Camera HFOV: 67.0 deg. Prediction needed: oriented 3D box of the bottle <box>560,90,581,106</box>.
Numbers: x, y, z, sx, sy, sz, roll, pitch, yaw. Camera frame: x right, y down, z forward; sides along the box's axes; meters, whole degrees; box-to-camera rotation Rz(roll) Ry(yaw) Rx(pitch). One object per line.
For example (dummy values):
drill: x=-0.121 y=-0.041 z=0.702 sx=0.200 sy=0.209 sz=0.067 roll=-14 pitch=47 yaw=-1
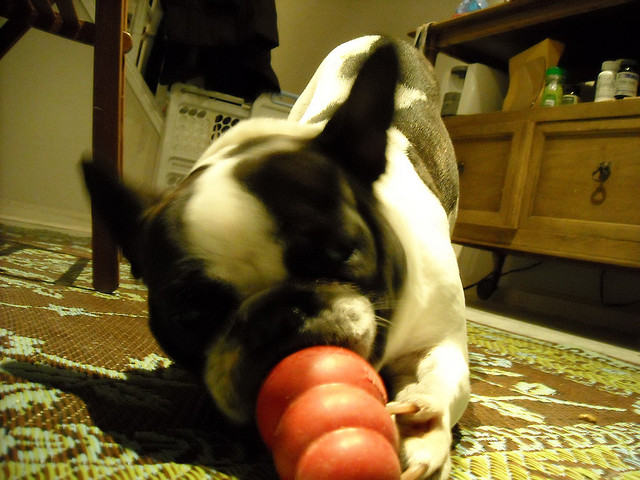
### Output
bottle: x=1.164 y=-0.668 z=2.251 sx=0.076 sy=0.074 sz=0.063 roll=12 pitch=5 yaw=25

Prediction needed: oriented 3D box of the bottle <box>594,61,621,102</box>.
bottle: x=1.287 y=-0.706 z=2.168 sx=0.135 sy=0.173 sz=0.139 roll=0 pitch=13 yaw=0

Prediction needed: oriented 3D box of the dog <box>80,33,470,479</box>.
dog: x=-0.023 y=-0.009 z=0.866 sx=0.754 sy=0.534 sz=0.408 roll=7 pitch=5 yaw=-24

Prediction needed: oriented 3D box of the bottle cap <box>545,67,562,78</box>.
bottle cap: x=1.106 y=-0.803 z=2.300 sx=0.039 sy=0.046 sz=0.083 roll=7 pitch=6 yaw=-30
